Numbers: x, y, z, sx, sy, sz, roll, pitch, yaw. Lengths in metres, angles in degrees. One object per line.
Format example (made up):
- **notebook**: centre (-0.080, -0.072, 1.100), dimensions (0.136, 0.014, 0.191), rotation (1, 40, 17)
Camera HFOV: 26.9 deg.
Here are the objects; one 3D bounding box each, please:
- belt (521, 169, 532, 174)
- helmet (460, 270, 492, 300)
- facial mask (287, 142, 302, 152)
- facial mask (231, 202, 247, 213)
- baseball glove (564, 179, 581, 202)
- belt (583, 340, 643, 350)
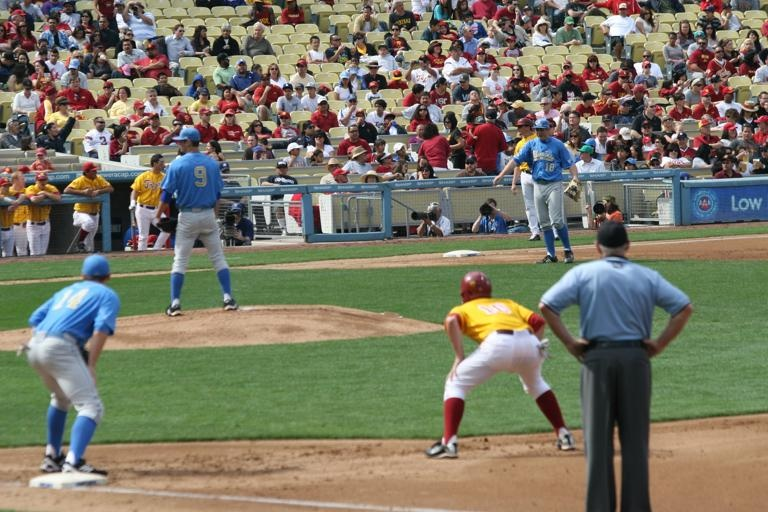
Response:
- **belt**: centre (3.054, -1.829, 34.414), dimensions (0.149, 0.071, 0.153), rotation (1, -3, -4)
- **helmet**: centre (1.498, 0.479, 26.878), dimensions (0.419, 0.424, 0.508), rotation (-2, 2, -8)
- **facial mask**: centre (-2.337, -2.739, 40.353), dimensions (0.342, 0.124, 0.234), rotation (-11, 7, 42)
- **facial mask**: centre (-3.549, -1.174, 38.639), dimensions (0.252, 0.311, 0.287), rotation (2, -17, -13)
- **baseball glove**: centre (4.080, -1.451, 34.594), dimensions (0.245, 0.352, 0.606), rotation (-3, 0, 1)
- **belt**: centre (3.649, 1.363, 25.289), dimensions (0.900, 0.121, 0.086), rotation (-3, 1, 3)
